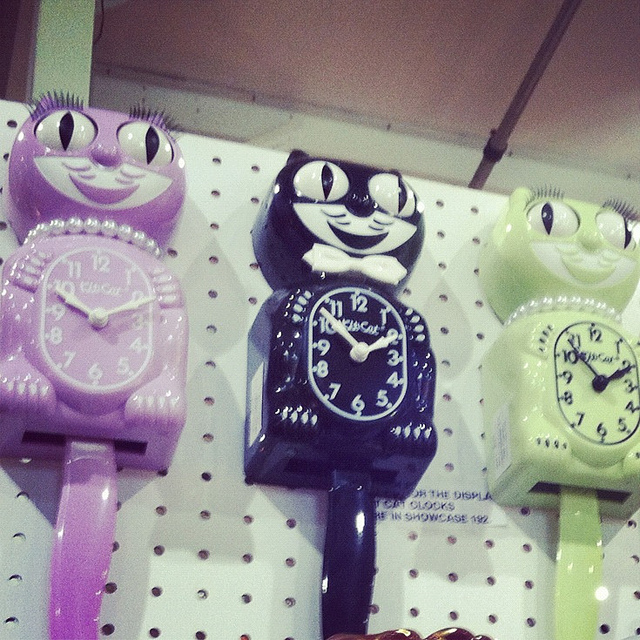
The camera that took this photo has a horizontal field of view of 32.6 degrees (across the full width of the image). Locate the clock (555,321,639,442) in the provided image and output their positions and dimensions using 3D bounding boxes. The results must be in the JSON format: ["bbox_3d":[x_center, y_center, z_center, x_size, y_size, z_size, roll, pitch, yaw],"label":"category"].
[{"bbox_3d":[0.347,0.084,1.398,0.115,0.187,0.025,7,-31,-11],"label":"clock"}]

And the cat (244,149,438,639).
[{"bbox_3d":[0.022,0.073,1.396,0.235,0.470,0.288,4,2,-5],"label":"cat"}]

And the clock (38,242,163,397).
[{"bbox_3d":[-0.249,-0.008,1.254,0.164,0.252,0.037,8,38,-9],"label":"clock"}]

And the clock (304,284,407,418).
[{"bbox_3d":[0.046,0.045,1.339,0.120,0.189,0.031,8,-31,-9],"label":"clock"}]
